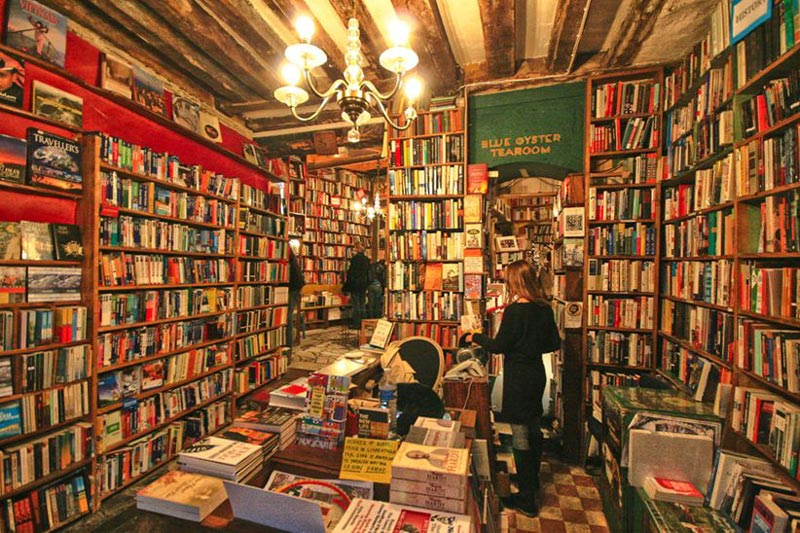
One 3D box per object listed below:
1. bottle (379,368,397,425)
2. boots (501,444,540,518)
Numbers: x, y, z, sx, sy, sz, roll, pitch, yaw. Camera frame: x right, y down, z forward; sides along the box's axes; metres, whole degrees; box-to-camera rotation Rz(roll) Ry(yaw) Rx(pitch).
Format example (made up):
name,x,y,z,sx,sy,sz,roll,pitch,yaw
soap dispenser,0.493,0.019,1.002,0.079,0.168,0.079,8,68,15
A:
name,x,y,z,sx,sy,sz,roll,pitch,yaw
bottle,-0.091,1.030,4.561,0.132,0.406,0.329,-3,0,-1
boots,1.177,2.066,5.591,0.357,0.646,0.176,-3,0,10
